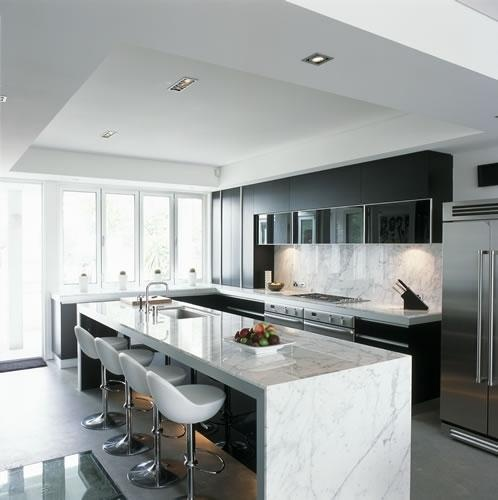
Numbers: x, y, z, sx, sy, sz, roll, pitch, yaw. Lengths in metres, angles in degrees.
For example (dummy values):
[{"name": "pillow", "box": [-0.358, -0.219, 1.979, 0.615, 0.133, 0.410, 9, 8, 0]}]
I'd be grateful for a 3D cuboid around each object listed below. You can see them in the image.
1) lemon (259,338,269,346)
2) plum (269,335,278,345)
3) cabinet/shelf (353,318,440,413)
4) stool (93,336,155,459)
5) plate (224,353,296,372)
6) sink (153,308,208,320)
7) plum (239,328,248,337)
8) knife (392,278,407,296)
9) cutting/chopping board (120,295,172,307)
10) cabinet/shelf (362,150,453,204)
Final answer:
[{"name": "lemon", "box": [0.082, 0.517, 2.431, 0.039, 0.043, 0.038, 6, -42, -15]}, {"name": "plum", "box": [0.143, 0.511, 2.463, 0.047, 0.051, 0.045, -9, -8, 19]}, {"name": "cabinet/shelf", "box": [1.576, 1.099, 4.602, 0.806, 1.112, 0.823, 2, -2, -34]}, {"name": "stool", "box": [-0.947, 1.190, 3.492, 0.453, 0.771, 0.399, 6, 1, 35]}, {"name": "plate", "box": [0.066, 0.573, 2.215, 0.375, 0.009, 0.319, 1, -1, -25]}, {"name": "sink", "box": [-0.656, 0.607, 4.034, 0.328, 0.113, 0.435, 1, -1, -29]}, {"name": "plum", "box": [-0.027, 0.483, 2.545, 0.044, 0.041, 0.051, 13, -6, -16]}, {"name": "knife", "box": [1.592, 0.382, 4.544, 0.045, 0.183, 0.133, 18, -53, -41]}, {"name": "cutting/chopping board", "box": [-1.022, 0.501, 4.353, 0.526, 0.101, 0.656, 1, -1, -15]}, {"name": "cabinet/shelf", "box": [1.602, -0.750, 4.391, 0.902, 0.497, 0.455, 1, 5, -12]}]
